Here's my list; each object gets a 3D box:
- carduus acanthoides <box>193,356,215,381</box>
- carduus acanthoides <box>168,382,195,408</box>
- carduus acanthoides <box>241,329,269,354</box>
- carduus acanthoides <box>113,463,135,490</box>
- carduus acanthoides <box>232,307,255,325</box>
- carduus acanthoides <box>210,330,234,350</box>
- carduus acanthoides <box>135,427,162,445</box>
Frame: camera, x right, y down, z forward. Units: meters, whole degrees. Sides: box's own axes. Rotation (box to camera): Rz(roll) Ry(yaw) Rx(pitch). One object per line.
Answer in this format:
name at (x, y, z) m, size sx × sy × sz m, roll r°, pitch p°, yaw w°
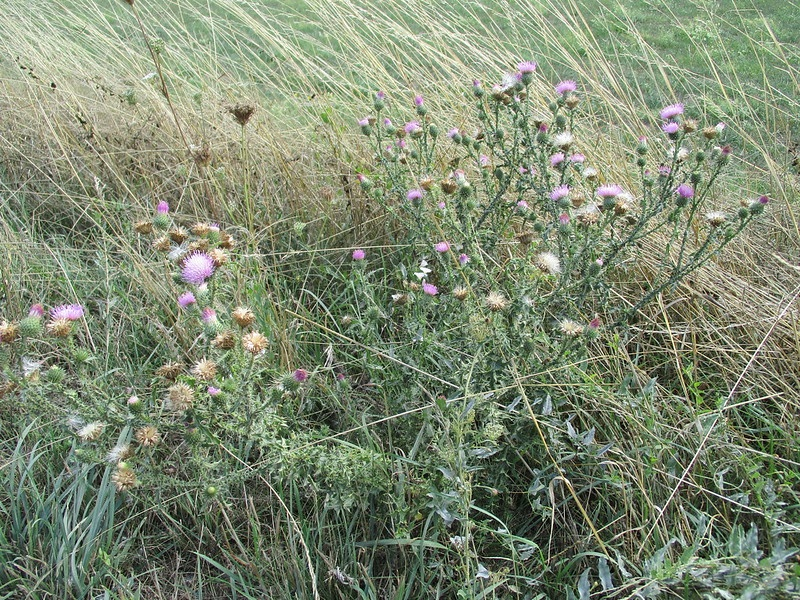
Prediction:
carduus acanthoides at (-0.826, 0.304, 3.297) m, size 0.073 × 0.034 × 0.094 m, roll 7°, pitch 68°, yaw -16°
carduus acanthoides at (-0.902, 0.407, 3.207) m, size 0.112 × 0.112 × 0.121 m, roll 6°, pitch 35°, yaw -21°
carduus acanthoides at (-0.613, 0.184, 3.253) m, size 0.097 × 0.076 × 0.107 m, roll 18°, pitch 33°, yaw -5°
carduus acanthoides at (-1.150, 0.743, 3.250) m, size 0.098 × 0.106 × 0.100 m, roll 5°, pitch 35°, yaw -22°
carduus acanthoides at (-0.655, 0.073, 3.264) m, size 0.075 × 0.064 × 0.084 m, roll 13°, pitch -7°, yaw 1°
carduus acanthoides at (-0.737, 0.177, 3.255) m, size 0.086 × 0.082 × 0.053 m, roll 9°, pitch 32°, yaw -17°
carduus acanthoides at (-1.048, 0.574, 3.243) m, size 0.080 × 0.034 × 0.088 m, roll -28°, pitch 66°, yaw -23°
